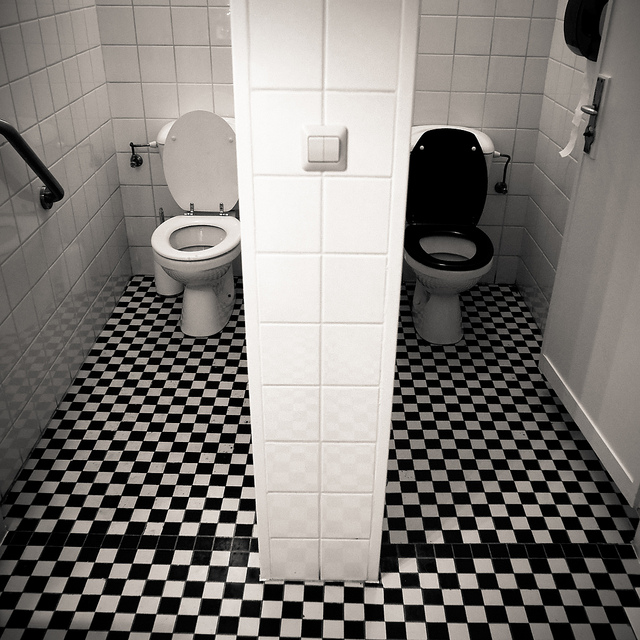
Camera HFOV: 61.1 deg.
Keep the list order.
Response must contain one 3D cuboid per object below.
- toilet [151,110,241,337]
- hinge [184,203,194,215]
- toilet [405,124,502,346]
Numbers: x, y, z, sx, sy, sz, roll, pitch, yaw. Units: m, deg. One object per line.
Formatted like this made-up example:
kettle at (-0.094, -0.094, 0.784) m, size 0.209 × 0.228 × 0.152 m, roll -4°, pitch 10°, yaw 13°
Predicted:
toilet at (-0.624, -0.492, 2.757) m, size 0.439 × 1.009 × 0.676 m, roll -5°, pitch 32°, yaw -10°
hinge at (-0.687, -0.590, 2.868) m, size 0.041 × 0.054 × 0.011 m, roll 5°, pitch 3°, yaw 16°
toilet at (0.664, -0.468, 2.806) m, size 0.387 × 1.036 × 0.883 m, roll 0°, pitch 26°, yaw 4°
